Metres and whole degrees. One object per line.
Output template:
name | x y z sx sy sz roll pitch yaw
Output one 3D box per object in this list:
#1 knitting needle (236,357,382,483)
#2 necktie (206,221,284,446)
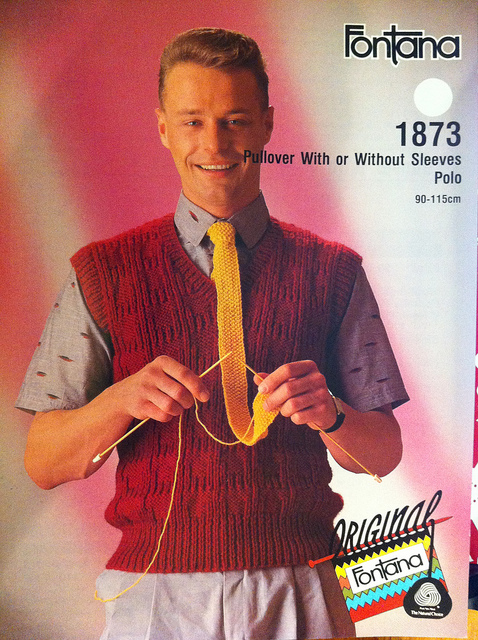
knitting needle | 0.143 0.212 1.272 0.034 0.479 0.015 -51 18 0
necktie | -0.017 0.035 1.198 0.136 0.456 0.051 -5 -11 2
